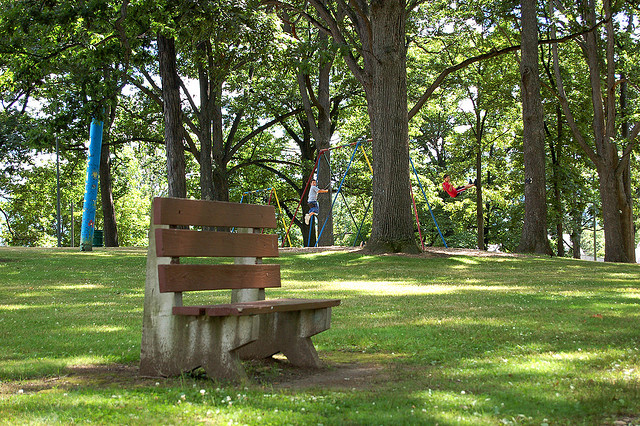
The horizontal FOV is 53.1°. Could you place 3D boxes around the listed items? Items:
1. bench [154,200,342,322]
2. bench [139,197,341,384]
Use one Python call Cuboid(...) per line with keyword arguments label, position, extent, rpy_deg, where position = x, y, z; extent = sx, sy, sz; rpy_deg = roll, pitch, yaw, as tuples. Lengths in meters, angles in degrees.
Cuboid(label="bench", position=(-1.140, 0.665, 9.717), extent=(1.547, 1.631, 2.693), rpy_deg=(-3, -5, 37))
Cuboid(label="bench", position=(-1.210, 1.147, 10.168), extent=(2.147, 2.718, 2.983), rpy_deg=(-2, -4, 30))
